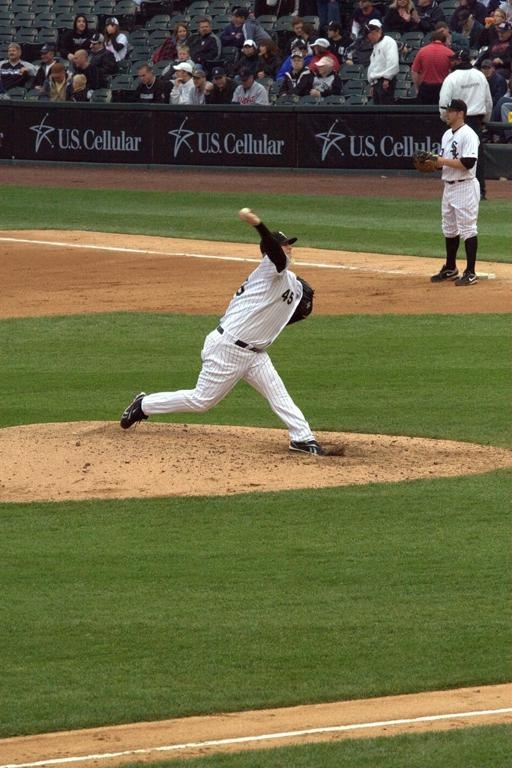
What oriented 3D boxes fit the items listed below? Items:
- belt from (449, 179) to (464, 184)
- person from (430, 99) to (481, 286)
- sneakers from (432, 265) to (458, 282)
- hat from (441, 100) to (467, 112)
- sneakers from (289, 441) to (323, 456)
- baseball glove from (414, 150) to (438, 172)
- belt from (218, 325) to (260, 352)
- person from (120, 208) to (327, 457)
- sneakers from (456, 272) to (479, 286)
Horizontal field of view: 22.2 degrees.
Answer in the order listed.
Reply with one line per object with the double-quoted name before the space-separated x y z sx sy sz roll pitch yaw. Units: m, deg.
"belt" 2.043 -2.054 13.370 0.168 0.052 0.033 10 17 39
"person" 2.087 -1.943 13.574 0.491 1.928 1.286 2 14 9
"sneakers" 2.056 -1.193 14.154 0.344 0.167 0.121 -5 33 -7
"hat" 2.036 -2.797 13.215 0.292 0.158 0.185 2 20 2
"sneakers" 0.307 0.379 7.783 0.221 0.089 0.074 5 16 10
"baseball glove" 1.743 -2.220 13.211 0.240 0.167 0.205 18 7 -3
"belt" -0.099 -0.256 7.666 0.269 0.178 0.186 0 13 0
"person" -0.083 -0.278 7.731 1.331 1.256 1.160 7 -1 -16
"sneakers" 2.241 -1.120 13.854 0.099 0.118 0.288 42 27 24
